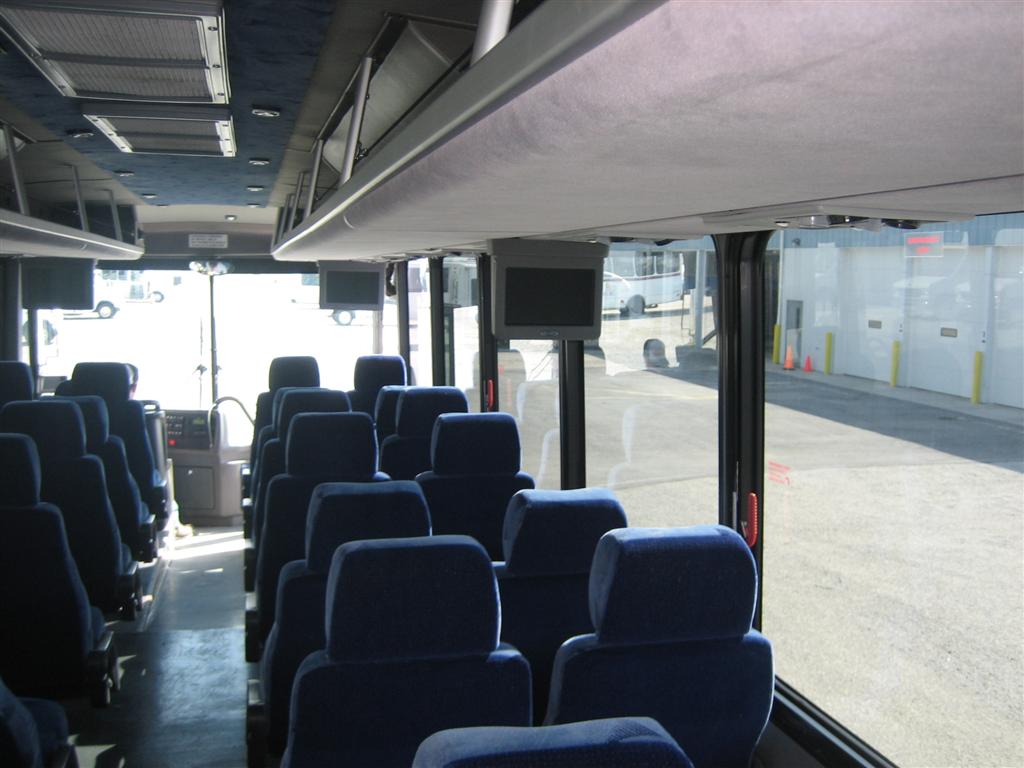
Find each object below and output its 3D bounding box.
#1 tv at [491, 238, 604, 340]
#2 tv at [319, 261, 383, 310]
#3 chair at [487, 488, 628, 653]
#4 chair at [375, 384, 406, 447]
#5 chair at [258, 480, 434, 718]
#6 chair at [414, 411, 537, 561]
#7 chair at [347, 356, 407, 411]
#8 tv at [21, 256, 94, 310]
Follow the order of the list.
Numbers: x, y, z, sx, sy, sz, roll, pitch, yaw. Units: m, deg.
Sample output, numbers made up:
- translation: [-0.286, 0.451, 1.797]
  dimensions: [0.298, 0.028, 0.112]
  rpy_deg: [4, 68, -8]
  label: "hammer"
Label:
- translation: [0.147, -0.443, 3.481]
  dimensions: [0.369, 0.348, 0.147]
  rpy_deg: [-2, 15, -8]
  label: "tv"
- translation: [-1.707, -1.150, 8.128]
  dimensions: [0.762, 0.607, 0.422]
  rpy_deg: [-1, 11, -13]
  label: "tv"
- translation: [0.099, 0.615, 2.827]
  dimensions: [0.429, 0.666, 0.516]
  rpy_deg: [-1, 10, -7]
  label: "chair"
- translation: [-0.962, 0.233, 6.063]
  dimensions: [0.295, 0.502, 0.290]
  rpy_deg: [-6, 18, -31]
  label: "chair"
- translation: [-0.641, 0.685, 2.795]
  dimensions: [0.521, 0.905, 0.794]
  rpy_deg: [0, 6, -15]
  label: "chair"
- translation: [-0.186, 0.736, 4.252]
  dimensions: [0.702, 1.042, 0.935]
  rpy_deg: [-1, -12, 1]
  label: "chair"
- translation: [-1.289, 0.001, 7.368]
  dimensions: [0.481, 0.595, 0.481]
  rpy_deg: [0, 4, -7]
  label: "chair"
- translation: [-4.986, -1.099, 8.343]
  dimensions: [0.511, 0.400, 0.068]
  rpy_deg: [0, 9, 1]
  label: "tv"
